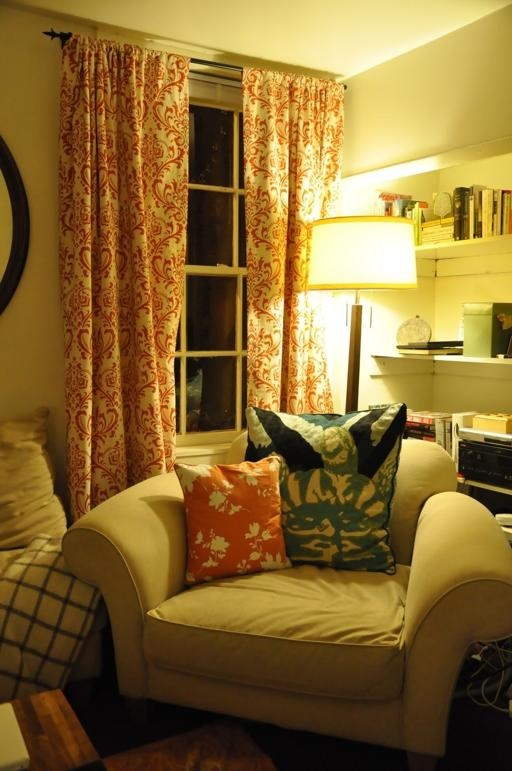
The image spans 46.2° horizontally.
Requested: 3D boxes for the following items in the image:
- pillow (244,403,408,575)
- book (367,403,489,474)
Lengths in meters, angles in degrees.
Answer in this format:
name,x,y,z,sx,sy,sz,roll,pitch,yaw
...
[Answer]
name,x,y,z,sx,sy,sz,roll,pitch,yaw
pillow,0.227,0.346,1.879,0.425,0.463,0.167,-2,-16,15
book,0.826,0.363,2.911,0.420,0.553,0.290,-8,-17,26
